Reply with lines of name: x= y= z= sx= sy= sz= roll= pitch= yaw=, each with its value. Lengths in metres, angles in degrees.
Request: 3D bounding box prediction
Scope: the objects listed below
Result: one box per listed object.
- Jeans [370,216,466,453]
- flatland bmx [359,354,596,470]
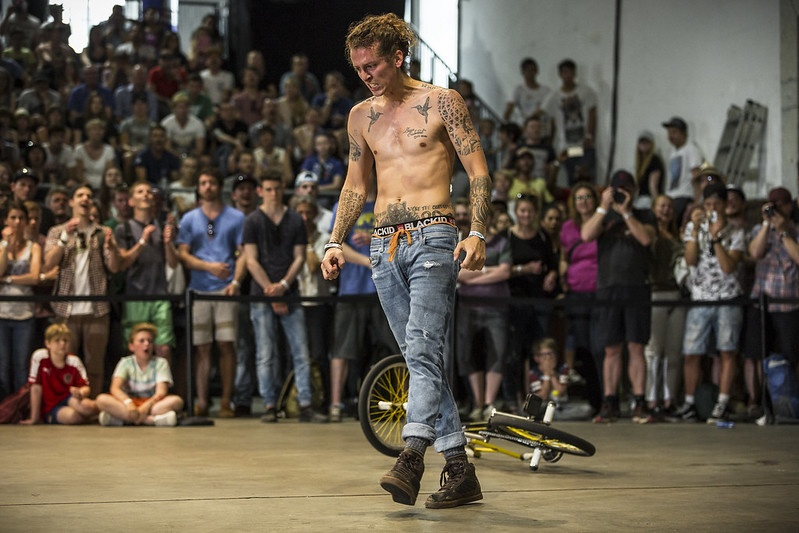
Jeans: x=0.151 y=0.625 z=13.316 sx=0.797 sy=2.007 sz=0.375 roll=0 pitch=-6 yaw=2
flatland bmx: x=0.699 y=1.476 z=14.645 sx=2.070 sy=1.022 sz=1.262 roll=3 pitch=6 yaw=9
